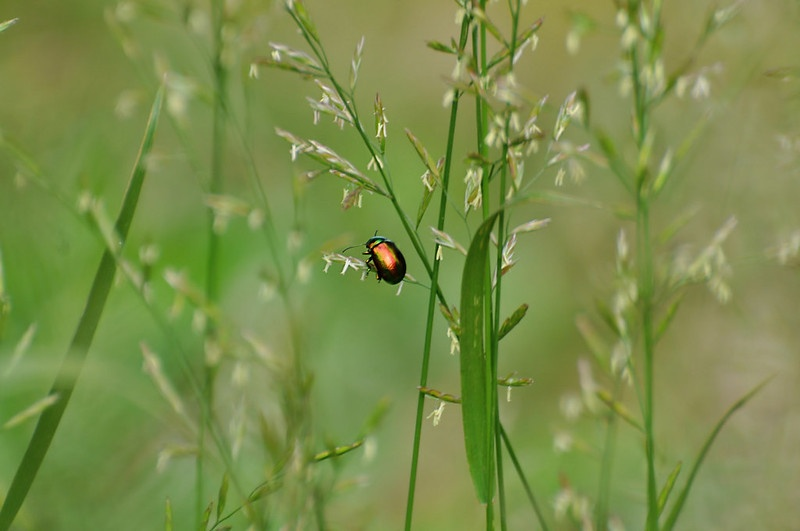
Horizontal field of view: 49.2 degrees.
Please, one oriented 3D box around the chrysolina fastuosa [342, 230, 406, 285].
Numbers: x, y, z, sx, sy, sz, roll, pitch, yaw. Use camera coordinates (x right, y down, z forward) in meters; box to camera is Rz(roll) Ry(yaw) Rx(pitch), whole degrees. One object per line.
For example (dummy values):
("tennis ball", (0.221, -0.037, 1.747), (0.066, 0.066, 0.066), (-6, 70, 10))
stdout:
("chrysolina fastuosa", (-0.043, 0.004, 1.550), (0.076, 0.037, 0.091), (-10, 54, -47))
